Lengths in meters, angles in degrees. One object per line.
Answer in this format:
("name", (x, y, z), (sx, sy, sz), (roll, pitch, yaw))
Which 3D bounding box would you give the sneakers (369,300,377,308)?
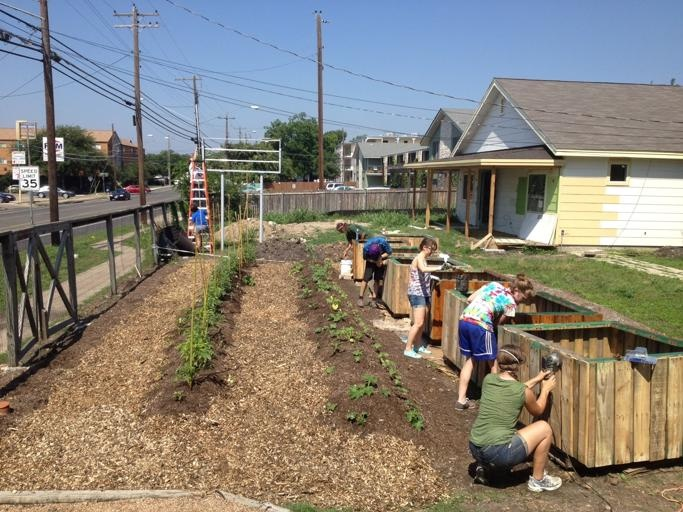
("sneakers", (0.654, 1.006, 12.110), (0.082, 0.180, 0.112), (-2, 0, 41))

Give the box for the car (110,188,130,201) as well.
("car", (-22.912, -6.555, 60.135), (1.694, 1.362, 2.765), (-1, 0, -8))

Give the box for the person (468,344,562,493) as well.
("person", (2.001, 1.838, 6.758), (1.105, 1.650, 1.098), (-2, 4, -15))

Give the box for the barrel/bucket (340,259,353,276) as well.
("barrel/bucket", (0.108, 0.311, 14.809), (0.326, 0.465, 0.349), (-1, 1, 0))

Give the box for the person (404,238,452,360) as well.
("person", (1.360, 0.646, 9.671), (0.505, 1.948, 1.265), (4, 12, 10))

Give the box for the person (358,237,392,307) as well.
("person", (0.690, 0.347, 11.991), (0.612, 1.499, 0.839), (2, 11, 1))

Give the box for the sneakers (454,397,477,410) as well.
("sneakers", (1.686, 2.016, 7.885), (0.320, 0.153, 0.132), (-5, 7, -30))

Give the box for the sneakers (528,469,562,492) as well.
("sneakers", (2.234, 2.497, 6.425), (0.336, 0.194, 0.167), (-4, 10, -5))
